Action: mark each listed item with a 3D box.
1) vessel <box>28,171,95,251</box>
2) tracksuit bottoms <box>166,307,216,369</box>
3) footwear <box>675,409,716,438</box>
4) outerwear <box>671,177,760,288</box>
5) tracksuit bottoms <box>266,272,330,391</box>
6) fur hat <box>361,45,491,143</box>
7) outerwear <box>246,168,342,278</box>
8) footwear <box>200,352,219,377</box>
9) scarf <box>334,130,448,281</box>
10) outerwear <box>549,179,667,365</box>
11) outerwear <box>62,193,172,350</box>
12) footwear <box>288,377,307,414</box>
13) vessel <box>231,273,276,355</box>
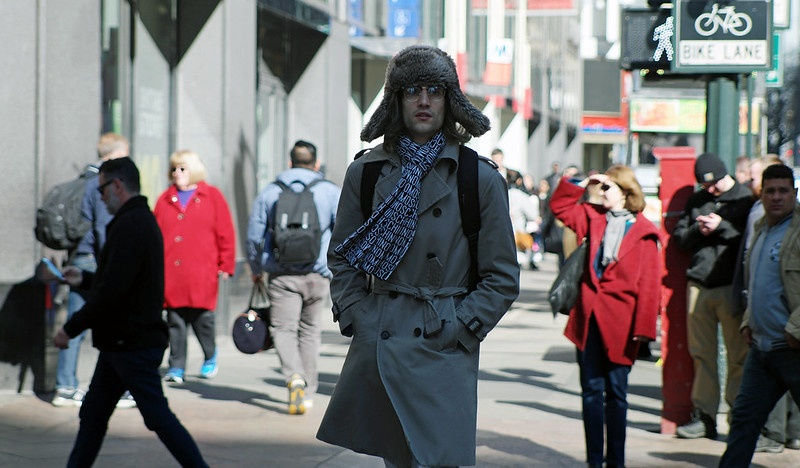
[{"bbox_3d":[-4.056,-0.263,15.495,0.867,0.892,0.645,-7,-5,-14],"label":"vessel"},{"bbox_3d":[-2.720,1.308,16.797,0.606,0.399,1.374,-4,33,-7],"label":"tracksuit bottoms"},{"bbox_3d":[3.499,2.256,15.037,0.604,0.441,0.209,2,-5,-3],"label":"footwear"},{"bbox_3d":[3.660,0.026,14.841,0.824,1.477,1.084,15,-10,-38],"label":"outerwear"},{"bbox_3d":[-1.185,1.142,15.794,0.678,1.563,0.503,2,-6,-25],"label":"tracksuit bottoms"},{"bbox_3d":[0.352,-1.251,12.598,1.238,0.974,0.802,-11,-16,23],"label":"fur hat"},{"bbox_3d":[-1.273,-0.070,15.486,1.397,1.604,0.801,2,-11,8],"label":"outerwear"},{"bbox_3d":[-2.478,1.698,16.876,0.136,0.154,0.394,-11,34,27],"label":"footwear"},{"bbox_3d":[-0.083,-0.277,12.273,0.952,1.376,0.262,3,3,1],"label":"scarf"},{"bbox_3d":[2.246,0.531,14.389,1.246,2.325,0.565,8,16,6],"label":"outerwear"},{"bbox_3d":[-3.024,0.529,13.469,1.200,1.867,1.304,0,-13,-5],"label":"outerwear"},{"bbox_3d":[-1.232,1.944,15.437,0.163,0.467,0.207,-1,19,-9],"label":"footwear"},{"bbox_3d":[-1.869,1.042,16.362,0.420,1.274,0.830,3,-19,9],"label":"vessel"}]
